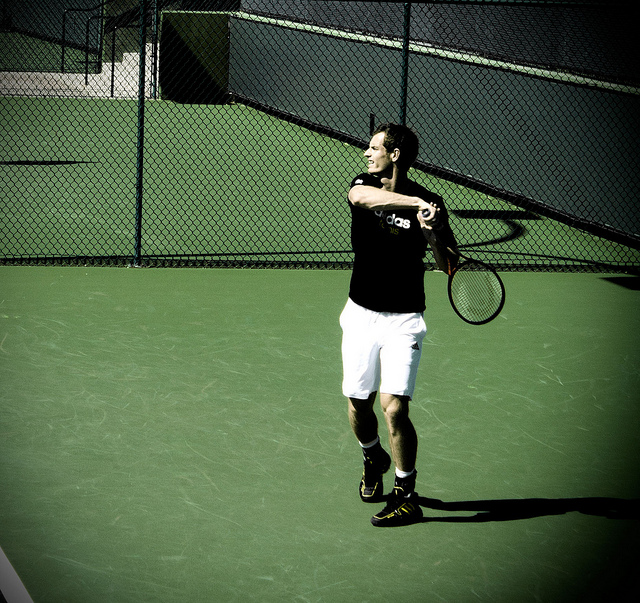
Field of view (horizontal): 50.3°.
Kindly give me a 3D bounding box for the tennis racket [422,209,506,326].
[{"bbox_3d":[0.746,-0.218,3.498,0.299,0.905,0.072,-6,37,21],"label":"tennis racket"}]
